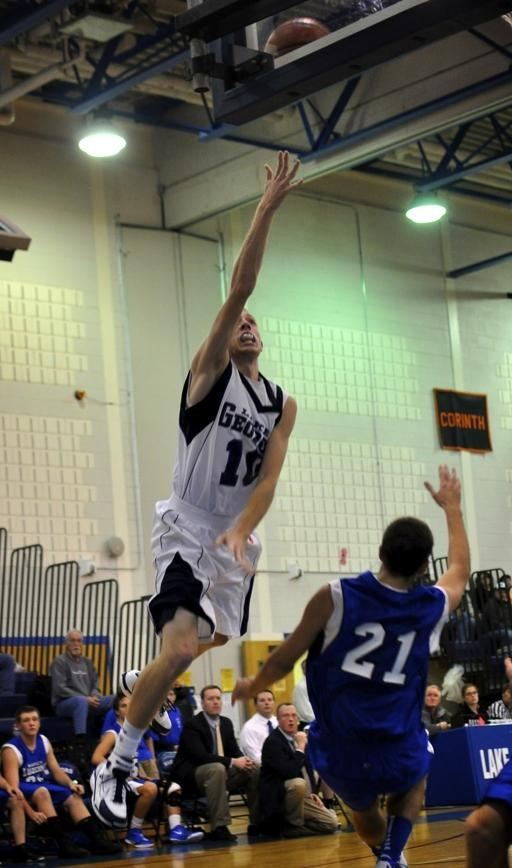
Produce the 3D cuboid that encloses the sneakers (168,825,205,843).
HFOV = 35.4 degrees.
[{"bbox_3d":[-0.644,3.510,7.040,0.378,0.155,0.126,-4,-12,11],"label":"sneakers"}]

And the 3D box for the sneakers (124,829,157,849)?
[{"bbox_3d":[-0.967,3.442,6.790,0.285,0.116,0.133,-5,-10,41],"label":"sneakers"}]

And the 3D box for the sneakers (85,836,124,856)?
[{"bbox_3d":[-1.194,3.268,6.375,0.294,0.126,0.098,-4,-12,15],"label":"sneakers"}]

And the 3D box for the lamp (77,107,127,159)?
[{"bbox_3d":[-2.096,-4.241,10.864,0.547,0.849,0.800,-6,-10,-13],"label":"lamp"}]
